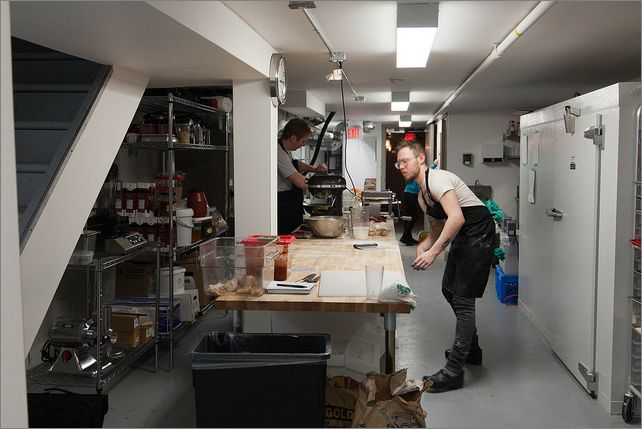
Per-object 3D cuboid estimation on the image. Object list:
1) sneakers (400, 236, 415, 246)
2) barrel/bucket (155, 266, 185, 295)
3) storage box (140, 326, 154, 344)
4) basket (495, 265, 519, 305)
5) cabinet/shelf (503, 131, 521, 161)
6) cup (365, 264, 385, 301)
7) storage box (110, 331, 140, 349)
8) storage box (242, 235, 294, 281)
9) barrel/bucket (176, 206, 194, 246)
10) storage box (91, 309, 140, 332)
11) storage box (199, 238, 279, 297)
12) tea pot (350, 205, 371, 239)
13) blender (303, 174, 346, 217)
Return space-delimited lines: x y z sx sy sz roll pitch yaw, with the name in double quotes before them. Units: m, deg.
"sneakers" 1.799 0.549 9.121 0.364 0.154 0.123 2 12 2
"barrel/bucket" -1.527 0.674 4.481 0.301 0.261 0.300 -3 4 0
"storage box" -1.551 1.064 3.990 0.119 0.139 0.209 0 2 0
"basket" 2.370 0.925 5.786 0.339 0.424 0.594 1 4 14
"cabinet/shelf" 3.449 -1.203 7.963 0.360 0.503 0.429 0 4 8
"cup" 0.334 0.420 2.769 0.101 0.208 0.134 1 11 6
"storage box" -1.705 1.089 3.824 0.231 0.145 0.124 0 -3 2
"storage box" -0.371 0.293 3.210 0.360 0.264 0.285 0 2 3
"barrel/bucket" -1.337 0.123 4.352 0.083 0.370 0.195 9 14 38
"storage box" -1.697 0.888 3.648 0.334 0.148 0.179 2 -2 9
"storage box" -0.535 0.330 2.930 0.454 0.278 0.447 0 3 3
"tea pot" 0.403 0.097 4.485 0.254 0.315 0.257 -1 4 0
"blender" 0.066 -0.218 4.860 0.412 0.491 0.302 4 11 8
